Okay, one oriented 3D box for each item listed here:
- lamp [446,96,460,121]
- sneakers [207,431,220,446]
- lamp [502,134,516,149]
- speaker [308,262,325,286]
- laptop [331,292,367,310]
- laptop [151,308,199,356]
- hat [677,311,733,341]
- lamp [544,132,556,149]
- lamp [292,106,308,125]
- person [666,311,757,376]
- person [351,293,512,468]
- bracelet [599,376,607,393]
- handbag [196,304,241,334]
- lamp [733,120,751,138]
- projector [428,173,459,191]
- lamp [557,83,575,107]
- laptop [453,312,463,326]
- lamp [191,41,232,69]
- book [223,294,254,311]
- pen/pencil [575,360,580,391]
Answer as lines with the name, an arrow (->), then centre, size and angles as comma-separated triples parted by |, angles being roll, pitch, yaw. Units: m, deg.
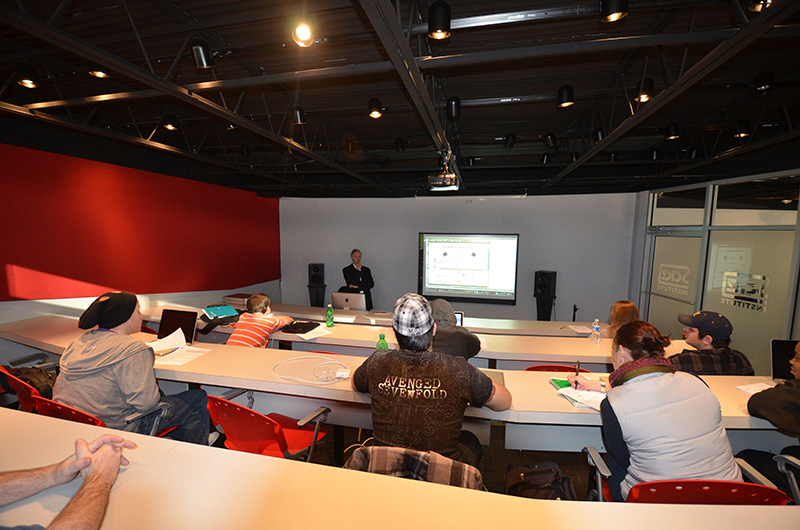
lamp -> 0.678, -1.993, 6.419 | 0.165, 0.276, 0.155 | 1, 3, -13
sneakers -> -1.788, 1.650, 4.834 | 0.126, 0.146, 0.157 | 3, -20, -9
lamp -> 1.784, -2.052, 8.364 | 0.163, 0.279, 0.157 | 8, -25, 6
speaker -> -1.758, 0.189, 10.734 | 0.308, 0.465, 0.171 | 0, 3, -17
laptop -> -0.702, 0.487, 7.081 | 0.391, 0.249, 0.263 | 3, 17, 11
laptop -> -2.447, 0.699, 5.541 | 0.466, 0.299, 0.446 | 2, 6, 20
hat -> 2.957, 0.568, 4.990 | 0.299, 0.214, 0.420 | -6, 11, -43
lamp -> 2.365, -1.982, 8.067 | 0.216, 0.248, 0.267 | -9, -25, 15
lamp -> -1.402, -2.115, 7.144 | 0.184, 0.274, 0.430 | 1, 3, -11
person -> 2.971, 0.755, 5.124 | 0.586, 0.474, 0.893 | -5, 4, -11
person -> 0.274, 1.037, 4.439 | 1.300, 1.860, 1.053 | 6, 39, 13
bracelet -> 1.854, 1.089, 4.645 | 0.037, 0.100, 0.077 | 2, -1, 28
handbag -> -2.289, 0.662, 6.530 | 0.469, 0.136, 0.352 | -5, 11, -44
lamp -> 4.841, -1.928, 7.214 | 0.220, 0.244, 0.219 | 14, 21, 38
projector -> 0.563, -1.060, 6.596 | 0.372, 0.236, 0.349 | 1, 5, 9
lamp -> 1.975, -2.055, 6.073 | 0.158, 0.283, 0.228 | 3, 3, 26
laptop -> 0.665, 0.603, 5.767 | 0.190, 0.172, 0.151 | 0, -5, 9
lamp -> -2.115, -2.332, 5.756 | 0.295, 0.269, 0.450 | 2, 3, 21
book -> -2.336, 0.496, 7.235 | 0.419, 0.096, 0.406 | 1, 2, -36
pen/pencil -> 1.658, 1.043, 4.780 | 0.029, 0.195, 0.030 | 4, -2, 28
